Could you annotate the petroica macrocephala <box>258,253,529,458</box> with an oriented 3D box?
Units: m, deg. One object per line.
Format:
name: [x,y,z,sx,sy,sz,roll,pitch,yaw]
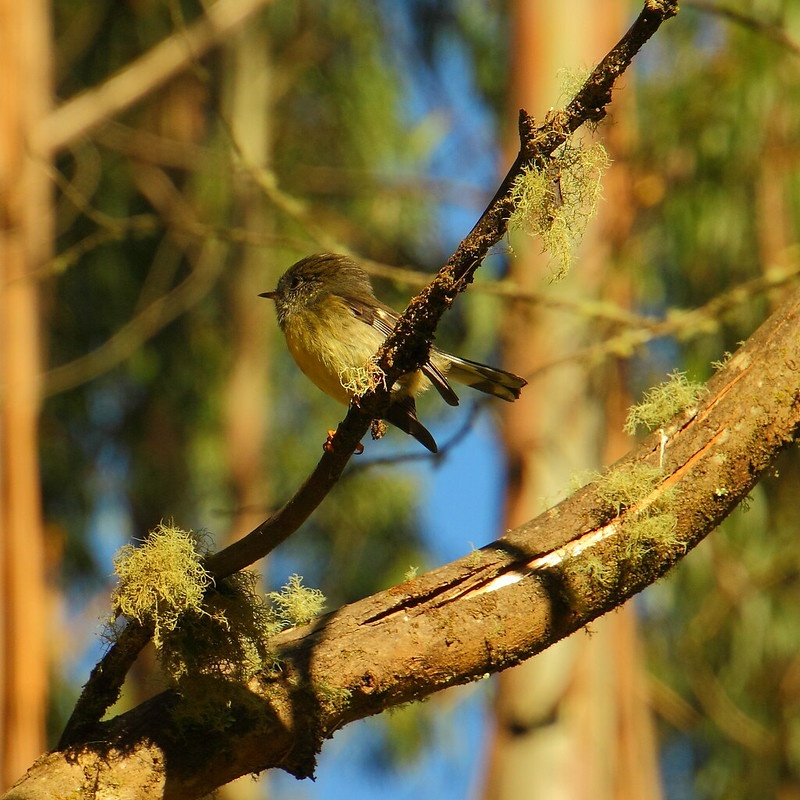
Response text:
petroica macrocephala: [-0.070,-0.207,7.008,1.199,0.898,0.447,12,-44,-10]
